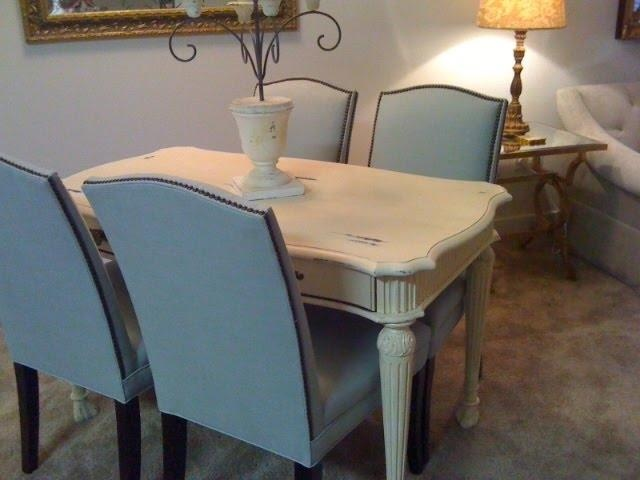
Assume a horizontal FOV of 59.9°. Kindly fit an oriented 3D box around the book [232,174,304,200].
[{"bbox_3d":[-0.169,-0.169,1.769,0.239,0.035,0.154,-2,25,1],"label":"book"}]

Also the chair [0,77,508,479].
[{"bbox_3d":[-0.127,0.071,2.462,1.247,2.057,1.436,11,22,28],"label":"chair"}]
